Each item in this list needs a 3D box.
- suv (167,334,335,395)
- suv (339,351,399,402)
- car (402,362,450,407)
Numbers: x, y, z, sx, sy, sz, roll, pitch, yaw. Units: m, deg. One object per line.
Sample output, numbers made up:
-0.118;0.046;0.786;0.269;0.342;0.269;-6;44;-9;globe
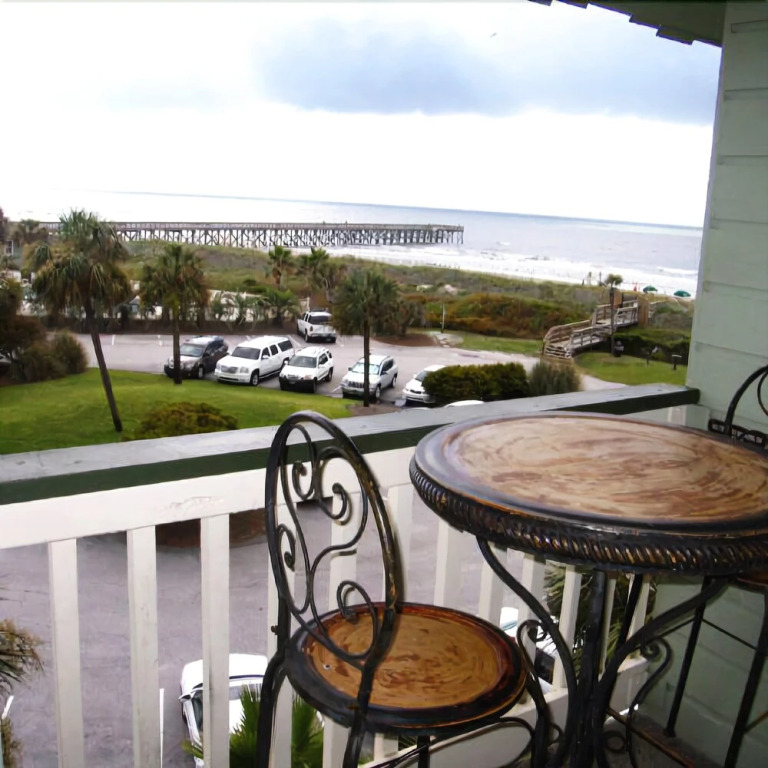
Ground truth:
-4.630;-0.752;26.694;4.931;1.990;3.227;-6;-1;21;suv
-0.463;-0.287;24.665;0.896;1.011;2.274;2;10;13;suv
1.106;0.086;24.547;0.679;0.784;1.860;2;9;16;car
